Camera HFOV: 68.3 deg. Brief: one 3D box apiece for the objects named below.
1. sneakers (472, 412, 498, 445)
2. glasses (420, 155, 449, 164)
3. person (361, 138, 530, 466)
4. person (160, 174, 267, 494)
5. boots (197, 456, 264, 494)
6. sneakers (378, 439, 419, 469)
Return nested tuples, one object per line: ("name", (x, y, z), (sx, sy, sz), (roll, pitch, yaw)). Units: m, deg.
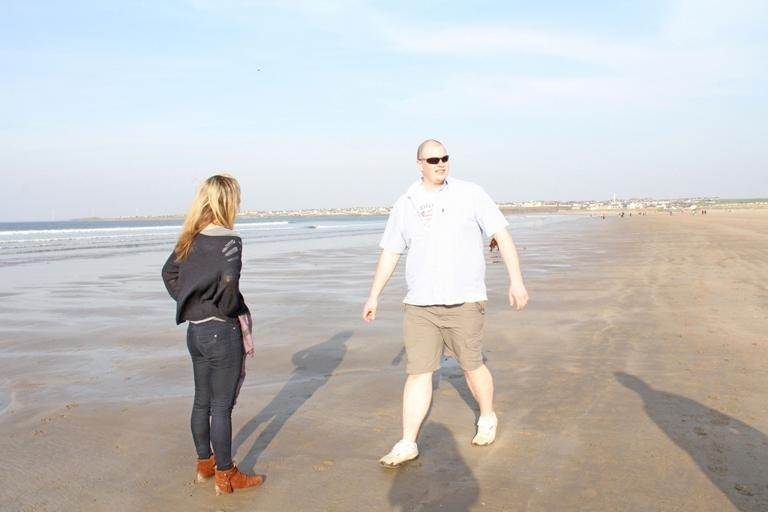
("sneakers", (0.903, 1.577, 5.115), (0.144, 0.138, 0.371), (-5, 0, 17))
("glasses", (0.420, -0.839, 4.881), (0.263, 0.082, 0.086), (2, 12, 14))
("person", (0.516, 0.343, 5.053), (1.293, 2.710, 0.766), (-6, 14, -17))
("person", (-1.342, 0.619, 4.470), (0.587, 2.481, 0.565), (-6, 14, -19))
("boots", (-1.176, 1.750, 4.660), (0.680, 0.272, 0.213), (-1, 4, -16))
("sneakers", (0.142, 1.683, 4.830), (0.149, 0.141, 0.381), (-3, -5, 44))
